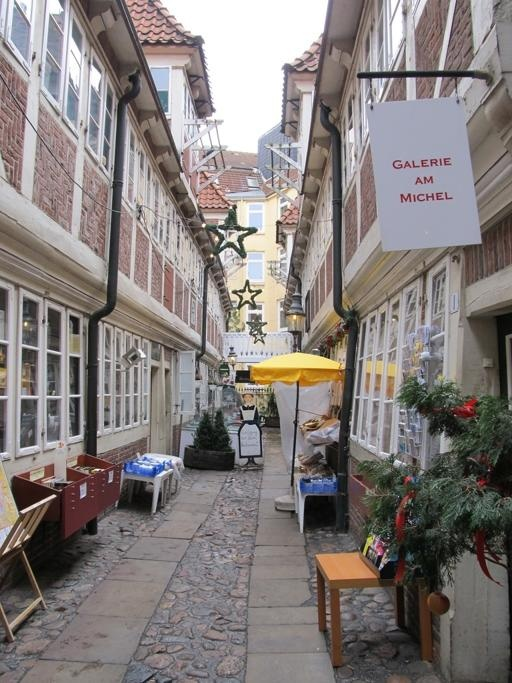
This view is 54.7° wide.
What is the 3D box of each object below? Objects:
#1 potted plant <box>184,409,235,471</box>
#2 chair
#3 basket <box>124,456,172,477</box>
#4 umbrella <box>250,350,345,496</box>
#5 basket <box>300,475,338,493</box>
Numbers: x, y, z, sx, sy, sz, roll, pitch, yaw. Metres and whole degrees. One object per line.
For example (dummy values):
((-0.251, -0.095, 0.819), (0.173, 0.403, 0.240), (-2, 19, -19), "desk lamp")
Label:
((-1.240, 2.461, 13.016), (1.351, 1.634, 1.395), (2, -3, 9), "potted plant")
((0.749, 1.734, 3.239), (0.652, 0.601, 0.907), (-3, -7, 1), "chair")
((-1.699, 1.970, 7.845), (0.628, 0.270, 0.647), (-7, -8, 27), "basket")
((0.610, 1.221, 7.601), (1.325, 2.111, 1.413), (2, -2, 22), "umbrella")
((0.845, 1.977, 6.804), (0.514, 0.228, 0.190), (-3, -7, 0), "basket")
